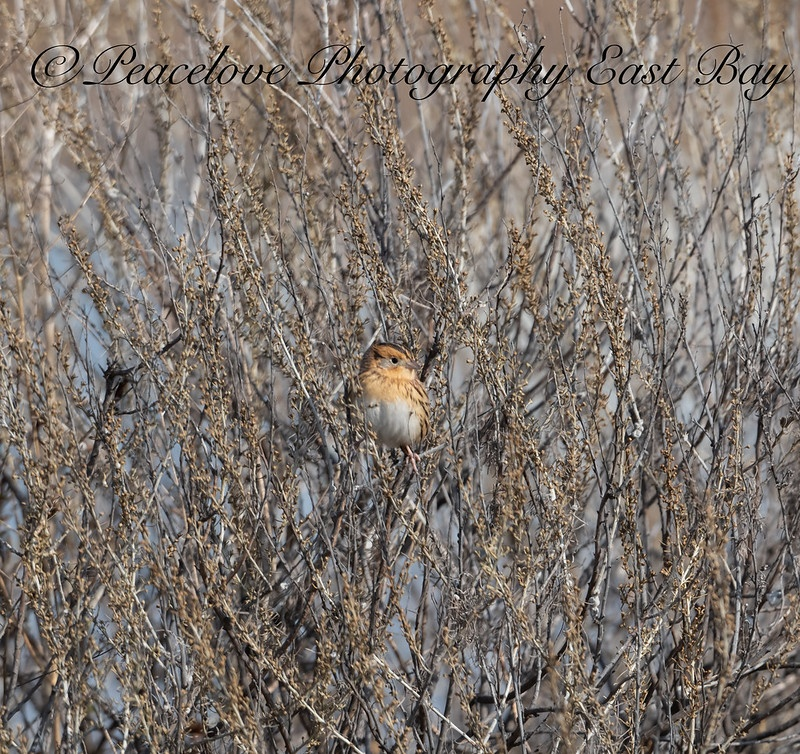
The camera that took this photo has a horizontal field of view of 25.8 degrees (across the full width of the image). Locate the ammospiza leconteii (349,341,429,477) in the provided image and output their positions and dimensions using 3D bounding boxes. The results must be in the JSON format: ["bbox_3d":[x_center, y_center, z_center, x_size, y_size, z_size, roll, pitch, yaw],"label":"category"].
[{"bbox_3d":[-0.067,0.297,11.998,0.331,0.991,0.618,-8,18,5],"label":"ammospiza leconteii"}]
